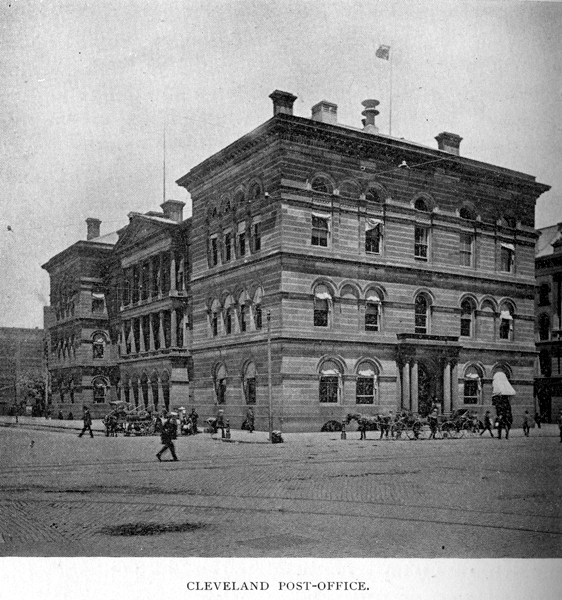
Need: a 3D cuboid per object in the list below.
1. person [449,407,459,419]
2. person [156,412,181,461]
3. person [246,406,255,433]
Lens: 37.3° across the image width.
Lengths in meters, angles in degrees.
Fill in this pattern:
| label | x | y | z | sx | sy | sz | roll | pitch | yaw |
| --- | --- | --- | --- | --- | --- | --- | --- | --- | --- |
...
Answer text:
| label | x | y | z | sx | sy | sz | roll | pitch | yaw |
| --- | --- | --- | --- | --- | --- | --- | --- | --- | --- |
| person | 8.877 | 5.852 | 42.770 | 0.326 | 0.512 | 0.783 | -3 | -18 | 11 |
| person | -3.461 | 4.149 | 25.698 | 0.507 | 1.572 | 0.571 | 11 | 10 | 33 |
| person | -1.527 | 5.953 | 41.556 | 0.423 | 1.293 | 1.406 | 2 | -10 | -3 |
